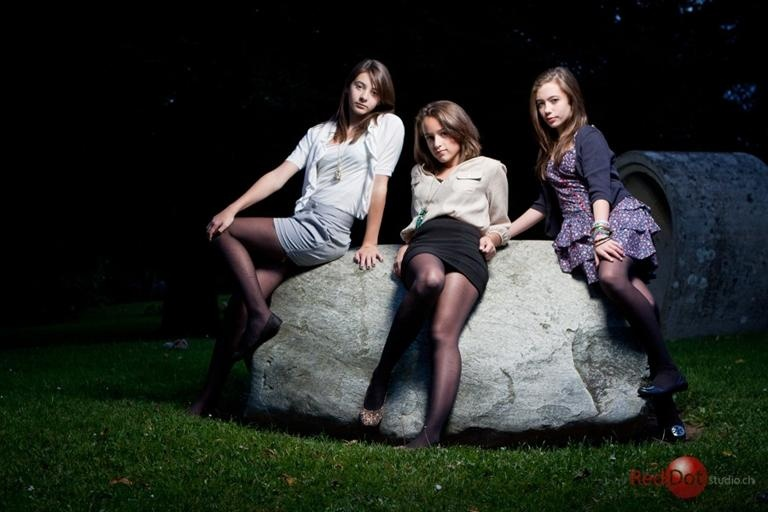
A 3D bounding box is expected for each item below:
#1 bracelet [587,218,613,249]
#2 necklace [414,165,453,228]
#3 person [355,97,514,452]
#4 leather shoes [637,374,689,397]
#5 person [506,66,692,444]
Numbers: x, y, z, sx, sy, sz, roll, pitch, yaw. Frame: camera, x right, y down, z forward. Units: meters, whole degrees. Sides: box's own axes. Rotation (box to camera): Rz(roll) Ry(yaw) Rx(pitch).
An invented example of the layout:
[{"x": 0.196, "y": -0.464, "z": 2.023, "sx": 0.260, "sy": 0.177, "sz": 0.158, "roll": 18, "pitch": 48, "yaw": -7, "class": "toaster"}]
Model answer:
[{"x": 1.488, "y": -0.163, "z": 4.307, "sx": 0.143, "sy": 0.152, "sz": 0.160, "roll": 0, "pitch": -4, "yaw": -1, "class": "bracelet"}, {"x": 0.364, "y": -0.409, "z": 4.461, "sx": 0.350, "sy": 0.409, "sz": 0.238, "roll": -5, "pitch": -25, "yaw": 22, "class": "necklace"}, {"x": 0.366, "y": 0.036, "z": 4.297, "sx": 0.646, "sy": 2.222, "sz": 1.134, "roll": 4, "pitch": 8, "yaw": 30, "class": "person"}, {"x": 1.804, "y": 0.822, "z": 4.031, "sx": 0.339, "sy": 0.144, "sz": 0.113, "roll": -4, "pitch": 8, "yaw": -27, "class": "leather shoes"}, {"x": 1.531, "y": -0.076, "z": 4.393, "sx": 0.572, "sy": 2.549, "sz": 1.257, "roll": -6, "pitch": 10, "yaw": -43, "class": "person"}]
